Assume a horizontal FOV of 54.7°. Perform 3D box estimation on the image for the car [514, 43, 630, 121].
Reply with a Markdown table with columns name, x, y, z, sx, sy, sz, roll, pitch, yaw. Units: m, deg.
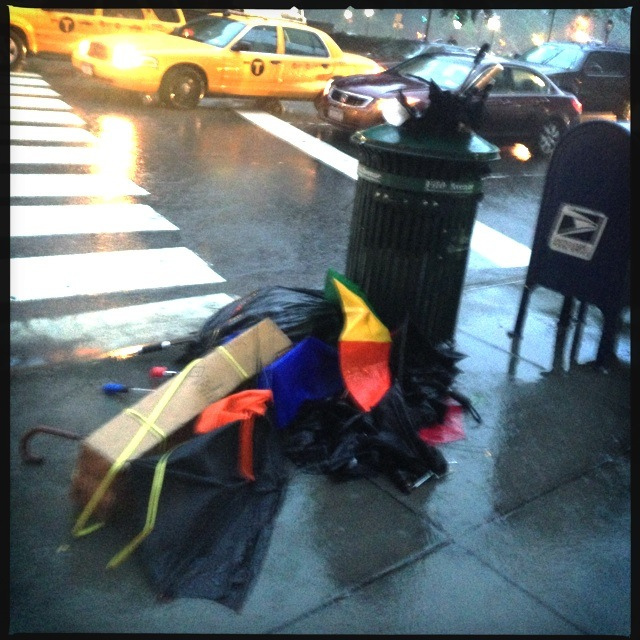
| name | x | y | z | sx | sy | sz | roll | pitch | yaw |
| --- | --- | --- | --- | --- | --- | --- | --- | --- | --- |
| car | 3.266 | -2.989 | 7.729 | 0.894 | 0.732 | 3.510 | 17 | 23 | 28 |

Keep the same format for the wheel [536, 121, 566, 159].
| name | x | y | z | sx | sy | sz | roll | pitch | yaw |
| --- | --- | --- | --- | --- | --- | --- | --- | --- | --- |
| wheel | 3.009 | -2.399 | 8.247 | 0.321 | 0.490 | 0.384 | 8 | 22 | 6 |

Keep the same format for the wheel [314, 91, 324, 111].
| name | x | y | z | sx | sy | sz | roll | pitch | yaw |
| --- | --- | --- | --- | --- | --- | --- | --- | --- | --- |
| wheel | -0.031 | -3.283 | 9.259 | 0.073 | 0.254 | 0.198 | 8 | -2 | -6 |

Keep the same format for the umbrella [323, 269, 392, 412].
| name | x | y | z | sx | sy | sz | roll | pitch | yaw |
| --- | --- | --- | --- | --- | --- | --- | --- | --- | --- |
| umbrella | 0.204 | 0.082 | 3.280 | 0.384 | 0.523 | 0.732 | 5 | 21 | -1 |
